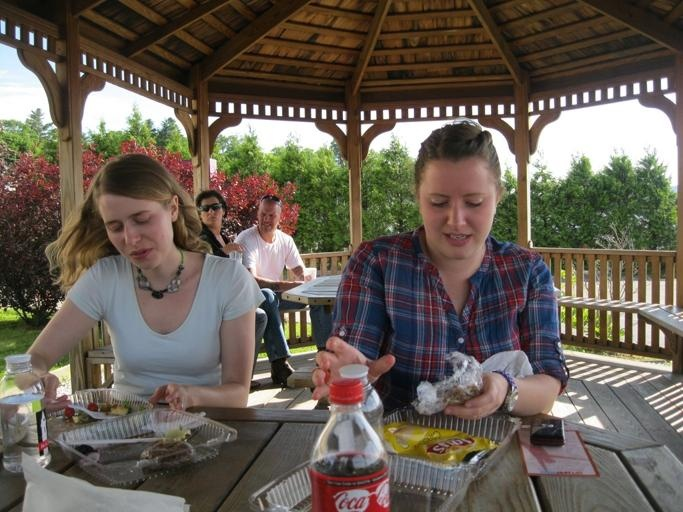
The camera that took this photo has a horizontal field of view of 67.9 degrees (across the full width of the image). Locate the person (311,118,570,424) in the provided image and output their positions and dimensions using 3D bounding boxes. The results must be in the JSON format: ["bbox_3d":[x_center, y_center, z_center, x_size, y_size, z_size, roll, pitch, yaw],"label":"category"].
[{"bbox_3d":[0.389,0.036,1.871,0.892,1.131,0.681,-1,3,4],"label":"person"}]

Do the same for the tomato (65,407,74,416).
[{"bbox_3d":[-0.889,0.519,1.678,0.022,0.030,0.024,0,1,3],"label":"tomato"}]

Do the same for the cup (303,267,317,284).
[{"bbox_3d":[-0.342,0.214,5.668,0.136,0.188,0.139,-1,1,0],"label":"cup"}]

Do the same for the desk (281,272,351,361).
[{"bbox_3d":[0.055,0.555,4.767,0.775,0.566,1.069,0,7,17],"label":"desk"}]

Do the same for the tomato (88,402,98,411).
[{"bbox_3d":[-0.839,0.513,1.738,0.020,0.028,0.022,7,34,25],"label":"tomato"}]

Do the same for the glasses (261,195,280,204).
[{"bbox_3d":[-0.731,-0.602,5.414,0.131,0.046,0.132,4,0,-1],"label":"glasses"}]

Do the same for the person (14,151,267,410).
[{"bbox_3d":[-0.837,0.076,2.080,0.929,1.044,0.838,-1,3,1],"label":"person"}]

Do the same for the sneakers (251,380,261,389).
[{"bbox_3d":[-0.802,1.188,4.677,0.131,0.067,0.046,-4,-1,38],"label":"sneakers"}]
